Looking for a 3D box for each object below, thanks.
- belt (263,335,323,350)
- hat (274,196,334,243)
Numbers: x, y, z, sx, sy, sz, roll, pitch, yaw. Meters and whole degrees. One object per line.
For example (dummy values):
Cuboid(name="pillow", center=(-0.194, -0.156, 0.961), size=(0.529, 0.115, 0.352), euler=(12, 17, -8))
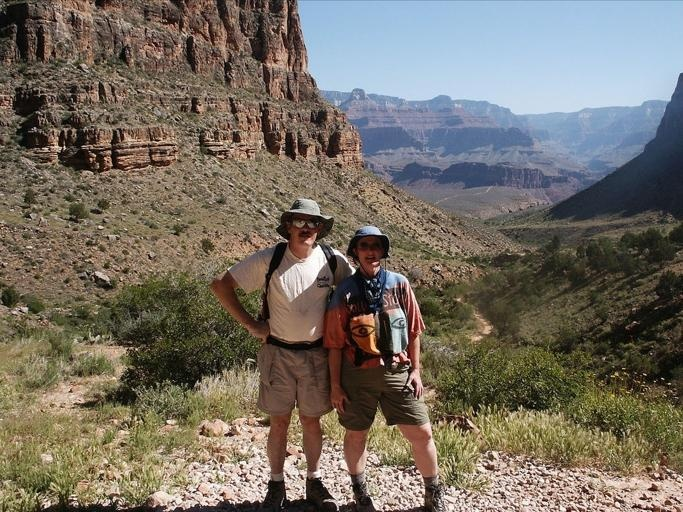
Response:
Cuboid(name="belt", center=(-0.815, 1.454, 10.402), size=(0.933, 0.224, 0.117), euler=(0, 10, 1))
Cuboid(name="hat", center=(-0.612, -0.675, 10.790), size=(0.732, 0.427, 0.819), euler=(3, -24, 1))
